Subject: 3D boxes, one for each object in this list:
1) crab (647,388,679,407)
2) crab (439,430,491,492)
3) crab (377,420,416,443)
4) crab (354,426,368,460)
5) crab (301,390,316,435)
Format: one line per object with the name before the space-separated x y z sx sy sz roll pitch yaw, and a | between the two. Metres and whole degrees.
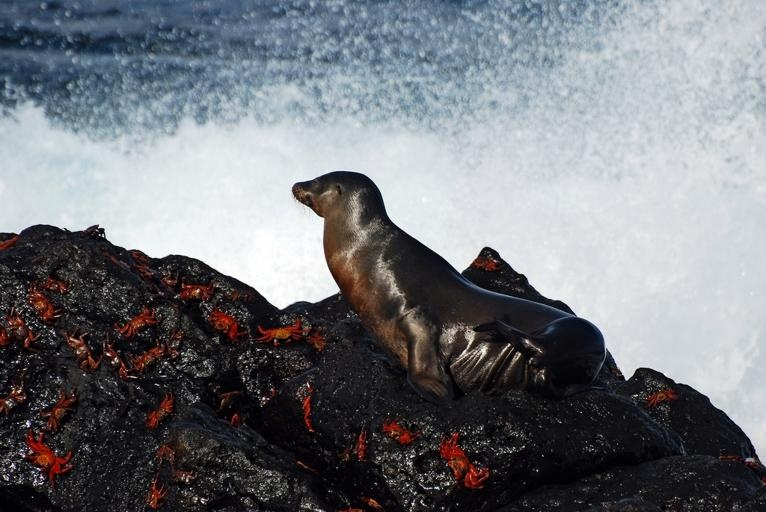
crab | 4.622 2.353 21.152 0.363 0.156 0.277 0 1 -24
crab | 1.199 3.043 18.970 0.711 0.651 0.756 -5 10 -18
crab | 0.247 2.667 19.113 0.429 0.278 0.139 35 -1 19
crab | -0.325 2.877 19.279 0.103 0.392 0.231 11 -7 -31
crab | -1.152 2.440 20.049 0.219 0.728 0.152 3 -14 -43
